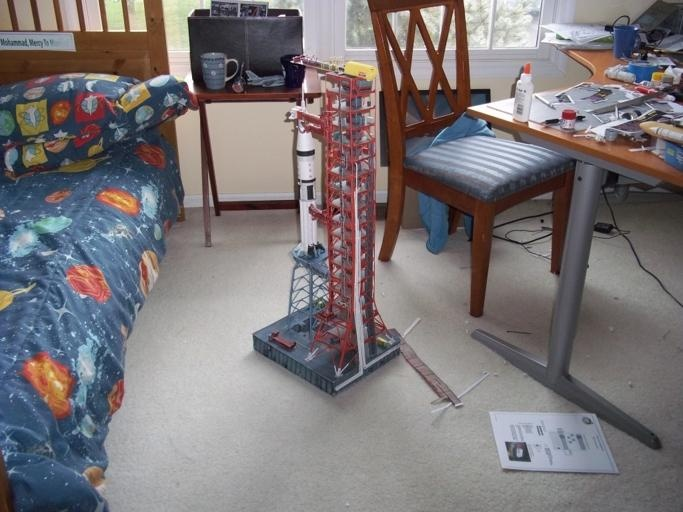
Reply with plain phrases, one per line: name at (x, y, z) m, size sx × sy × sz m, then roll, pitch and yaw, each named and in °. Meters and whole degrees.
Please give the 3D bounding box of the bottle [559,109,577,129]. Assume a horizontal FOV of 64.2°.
bottle at (0.700, -0.422, 1.685) m, size 0.064 × 0.061 × 0.050 m, roll 5°, pitch 38°, yaw 21°

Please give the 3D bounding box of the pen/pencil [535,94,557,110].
pen/pencil at (0.716, -0.553, 1.935) m, size 0.017 × 0.017 × 0.116 m, roll -18°, pitch 46°, yaw -13°

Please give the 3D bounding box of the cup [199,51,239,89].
cup at (-0.578, -0.855, 2.559) m, size 0.223 × 0.166 × 0.142 m, roll -10°, pitch 44°, yaw -21°

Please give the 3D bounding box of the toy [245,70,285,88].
toy at (-0.365, -0.849, 2.599) m, size 0.183 × 0.066 × 0.186 m, roll -5°, pitch 26°, yaw -9°
